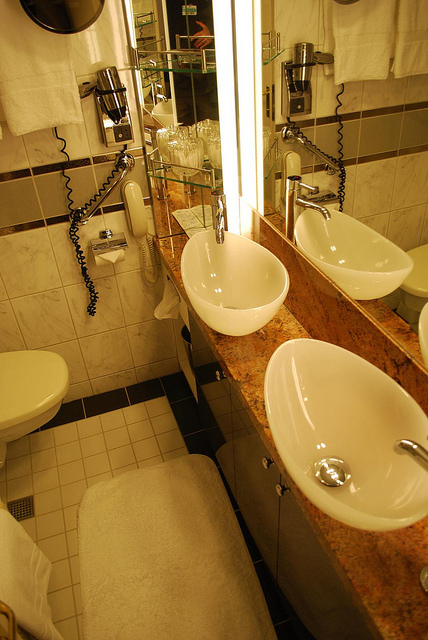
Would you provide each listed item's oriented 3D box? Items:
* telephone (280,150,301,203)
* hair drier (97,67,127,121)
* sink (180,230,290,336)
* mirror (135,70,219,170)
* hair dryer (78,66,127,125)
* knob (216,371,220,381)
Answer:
[{"bbox_3d":[0.254,-0.441,1.440,0.062,0.198,0.048,3,-11,11],"label":"telephone"},{"bbox_3d":[-0.377,-0.836,1.668,0.090,0.184,0.069,-16,32,-15],"label":"hair drier"},{"bbox_3d":[0.079,-0.131,1.549,0.299,0.128,0.464,-16,38,-12],"label":"sink"},{"bbox_3d":[-0.139,-0.812,1.809,0.343,0.383,0.148,11,36,27],"label":"mirror"},{"bbox_3d":[-0.412,-0.824,1.668,0.165,0.196,0.080,-14,32,-11],"label":"hair dryer"},{"bbox_3d":[0.013,0.184,1.500,0.007,0.025,0.014,-7,6,-37],"label":"knob"}]
